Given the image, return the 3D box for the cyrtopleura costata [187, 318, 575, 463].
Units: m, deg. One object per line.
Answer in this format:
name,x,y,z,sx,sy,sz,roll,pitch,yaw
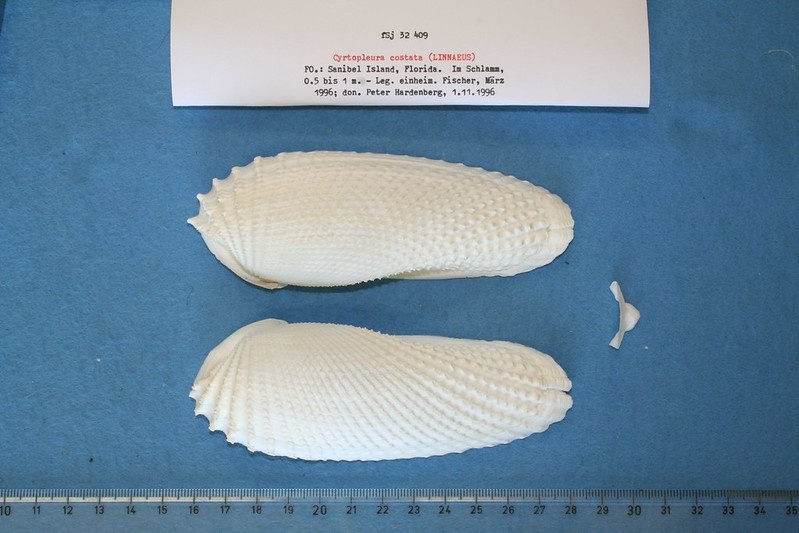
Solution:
cyrtopleura costata,-0.057,0.209,1.563,0.676,0.218,0.134,1,-4,-1
